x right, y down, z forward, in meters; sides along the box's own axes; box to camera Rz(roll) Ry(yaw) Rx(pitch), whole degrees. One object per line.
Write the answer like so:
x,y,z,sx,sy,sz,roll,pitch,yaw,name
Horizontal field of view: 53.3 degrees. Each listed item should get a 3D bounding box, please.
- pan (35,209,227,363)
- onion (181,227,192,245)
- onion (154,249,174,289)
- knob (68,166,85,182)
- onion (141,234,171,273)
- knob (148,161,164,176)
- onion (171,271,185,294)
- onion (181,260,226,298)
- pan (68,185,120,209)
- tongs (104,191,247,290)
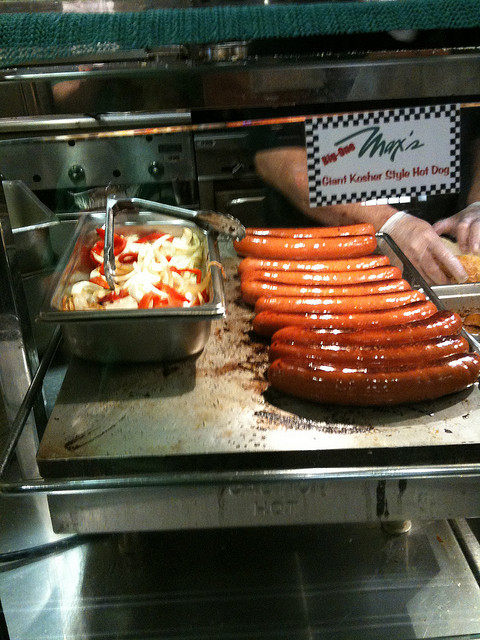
-0.228,-0.016,1.054,0.354,0.142,0.289,1,26,-11,pan
-0.137,-0.219,1.241,0.024,0.045,0.010,5,3,31,onion
-0.175,-0.128,1.126,0.019,0.029,0.153,-17,52,-5,onion
-0.348,-0.312,1.020,0.034,0.039,0.028,-14,30,-18,knob
-0.210,-0.166,1.156,0.022,0.014,0.129,33,34,-15,onion
-0.184,-0.335,1.053,0.021,0.036,0.035,14,34,31,knob
-0.145,-0.088,1.120,0.032,0.016,0.049,-3,71,-31,onion
-0.086,-0.082,1.093,0.064,0.100,0.028,12,-14,47,onion
-0.328,-0.277,1.093,0.067,0.027,0.055,-27,45,-17,pan
-0.156,-0.194,1.119,0.246,0.257,0.083,9,-9,-12,tongs
